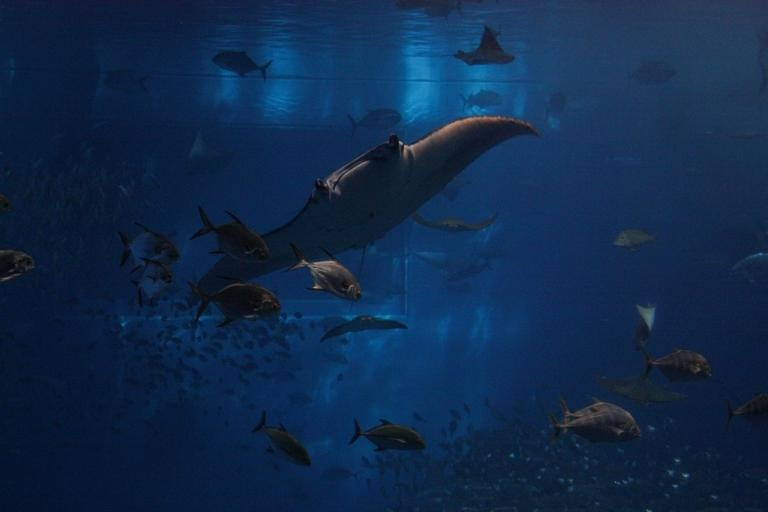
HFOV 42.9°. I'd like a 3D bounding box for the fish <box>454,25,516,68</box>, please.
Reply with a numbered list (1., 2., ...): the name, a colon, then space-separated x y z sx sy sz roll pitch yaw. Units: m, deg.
1. fish: 1.939 -4.107 18.954 1.051 0.795 0.920 4 4 3
